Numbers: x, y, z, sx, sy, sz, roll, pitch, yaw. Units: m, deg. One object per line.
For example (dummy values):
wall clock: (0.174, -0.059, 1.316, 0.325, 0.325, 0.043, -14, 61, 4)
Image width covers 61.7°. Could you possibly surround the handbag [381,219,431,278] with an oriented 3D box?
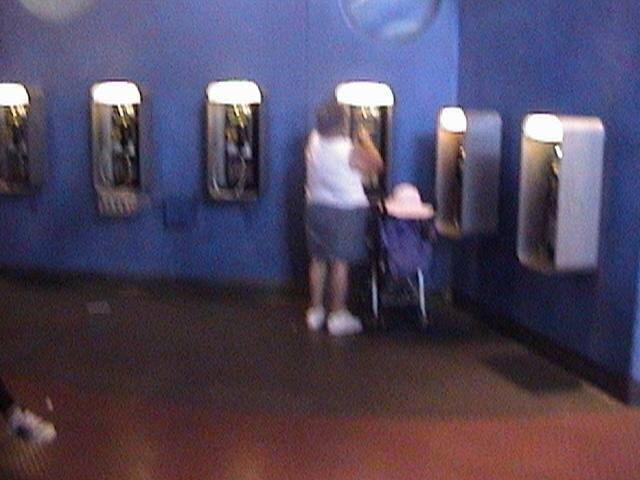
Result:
handbag: (0.148, 0.004, 0.933, 0.088, 0.100, 0.025, 1, 8, -11)
